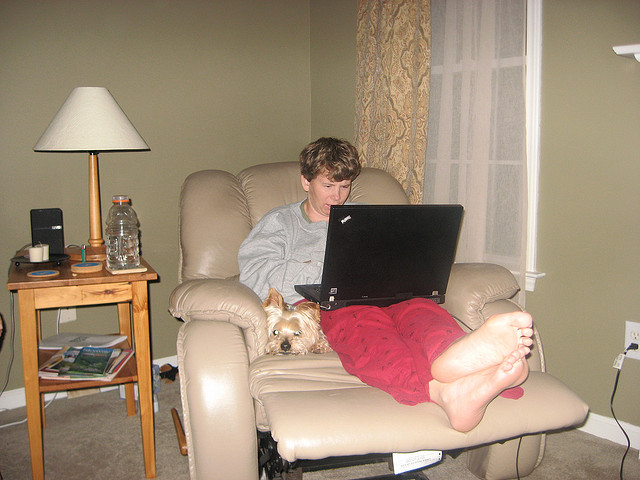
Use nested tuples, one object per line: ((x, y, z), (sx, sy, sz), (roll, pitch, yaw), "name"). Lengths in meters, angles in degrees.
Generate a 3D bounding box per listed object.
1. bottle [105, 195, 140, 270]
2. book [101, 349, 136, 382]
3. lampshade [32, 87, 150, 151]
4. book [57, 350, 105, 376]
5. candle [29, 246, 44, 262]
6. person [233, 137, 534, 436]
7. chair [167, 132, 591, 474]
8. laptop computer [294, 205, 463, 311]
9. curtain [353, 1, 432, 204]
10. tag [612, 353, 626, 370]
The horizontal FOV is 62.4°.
((-0.999, -0.042, 2.636), (0.161, 0.348, 0.292), (-6, 7, -20), "bottle")
((-0.995, 0.619, 2.615), (0.102, 0.022, 0.315), (16, 21, -3), "book")
((-1.159, -0.542, 2.612), (0.385, 0.224, 0.403), (-7, 8, -36), "lampshade")
((-1.166, 0.613, 2.580), (0.204, 0.087, 0.202), (-6, 7, -21), "book")
((-1.379, 0.073, 2.563), (0.064, 0.074, 0.064), (-7, 18, -31), "candle")
((0.132, 0.161, 2.434), (0.900, 0.919, 1.544), (-8, 12, -29), "person")
((0.005, 0.341, 2.656), (1.481, 1.428, 1.973), (-4, 17, -16), "chair")
((0.271, 0.045, 2.418), (0.625, 0.447, 0.551), (-2, 9, -18), "laptop computer")
((0.448, -0.875, 3.260), (0.156, 1.288, 0.586), (-8, 8, -36), "curtain")
((1.541, 0.622, 2.705), (0.020, 0.070, 0.052), (6, 9, 6), "tag")
